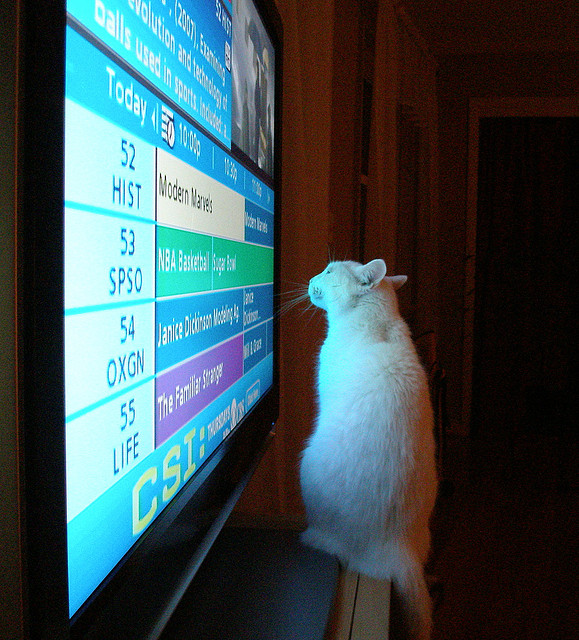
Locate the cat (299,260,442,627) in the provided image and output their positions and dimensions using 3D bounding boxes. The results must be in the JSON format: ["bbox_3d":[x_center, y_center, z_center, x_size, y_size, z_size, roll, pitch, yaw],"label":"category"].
[{"bbox_3d":[0.087,0.096,1.080,0.182,0.831,0.334,-1,-24,-3],"label":"cat"}]
